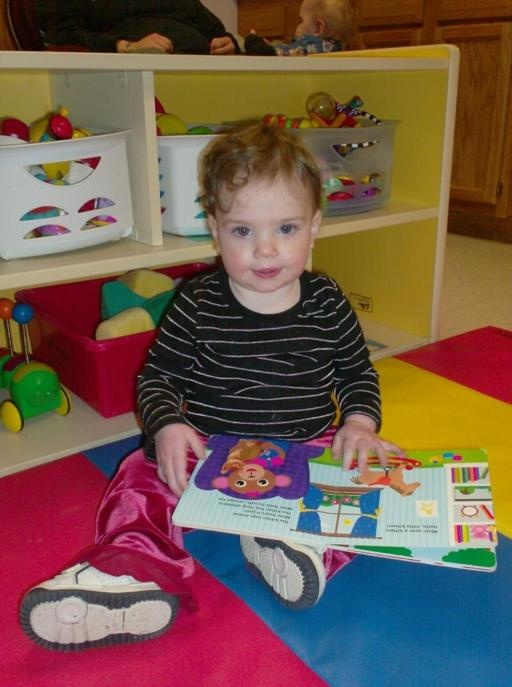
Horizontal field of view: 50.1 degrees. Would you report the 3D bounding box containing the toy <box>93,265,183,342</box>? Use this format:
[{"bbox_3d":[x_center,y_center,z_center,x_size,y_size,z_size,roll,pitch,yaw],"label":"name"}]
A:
[{"bbox_3d":[-0.253,-0.084,1.155,0.148,0.071,0.182,3,1,-34],"label":"toy"}]

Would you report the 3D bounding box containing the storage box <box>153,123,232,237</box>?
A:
[{"bbox_3d":[-0.133,-0.302,0.980,0.165,0.199,0.172,-11,26,-23],"label":"storage box"}]

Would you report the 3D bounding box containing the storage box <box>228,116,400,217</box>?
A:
[{"bbox_3d":[0.154,-0.399,1.305,0.318,0.199,0.264,-9,9,-23],"label":"storage box"}]

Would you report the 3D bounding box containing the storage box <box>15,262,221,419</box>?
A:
[{"bbox_3d":[-0.278,-0.023,1.166,0.382,0.140,0.255,-12,22,-38],"label":"storage box"}]

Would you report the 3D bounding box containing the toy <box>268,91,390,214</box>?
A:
[{"bbox_3d":[0.185,-0.456,1.321,0.348,0.233,0.264,-13,23,-27],"label":"toy"}]

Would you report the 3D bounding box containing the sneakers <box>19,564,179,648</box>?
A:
[{"bbox_3d":[-0.173,0.261,0.599,0.151,0.075,0.081,1,12,-17],"label":"sneakers"}]

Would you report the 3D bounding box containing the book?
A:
[{"bbox_3d":[0.097,0.163,0.639,0.348,0.057,0.232,7,29,11],"label":"book"}]

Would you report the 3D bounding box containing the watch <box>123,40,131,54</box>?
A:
[{"bbox_3d":[-0.276,-0.638,1.175,0.016,0.019,0.057,-5,29,-10],"label":"watch"}]
